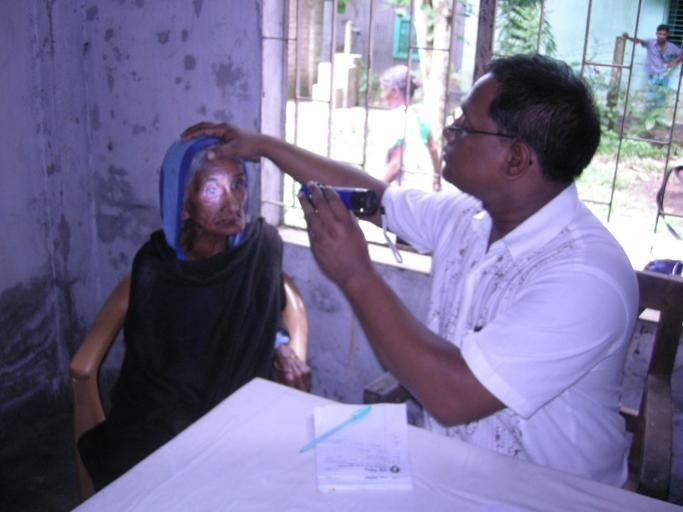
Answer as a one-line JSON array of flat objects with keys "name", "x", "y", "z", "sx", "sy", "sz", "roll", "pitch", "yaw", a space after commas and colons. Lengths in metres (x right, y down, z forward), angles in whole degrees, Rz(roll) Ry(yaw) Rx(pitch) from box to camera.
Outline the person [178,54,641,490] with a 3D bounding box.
[{"name": "person", "x": 0.151, "y": 0.059, "z": 2.051, "sx": 0.973, "sy": 1.801, "sz": 0.817, "roll": 5, "pitch": 34, "yaw": 1}]
